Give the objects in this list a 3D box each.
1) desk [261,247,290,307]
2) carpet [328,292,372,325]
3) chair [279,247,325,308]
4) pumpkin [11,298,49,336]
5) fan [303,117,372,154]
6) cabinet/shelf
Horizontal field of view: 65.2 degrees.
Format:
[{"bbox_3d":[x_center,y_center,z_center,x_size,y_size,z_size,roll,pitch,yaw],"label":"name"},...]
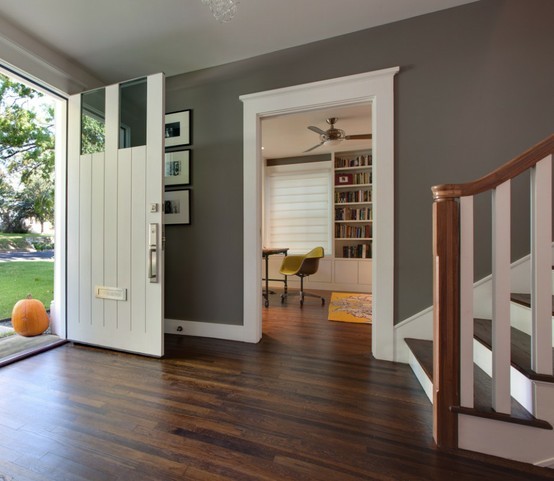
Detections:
[{"bbox_3d":[-0.122,0.502,6.172,0.527,0.753,0.738,-1,-1,9],"label":"desk"},{"bbox_3d":[0.949,0.857,5.650,0.550,0.023,1.907,0,3,10],"label":"carpet"},{"bbox_3d":[0.360,0.488,6.092,0.496,0.813,0.622,1,-1,-28],"label":"chair"},{"bbox_3d":[-2.426,0.693,4.257,0.288,0.446,0.313,-1,18,-19],"label":"pumpkin"},{"bbox_3d":[0.771,-1.398,5.591,0.721,0.383,0.961,-1,3,1],"label":"fan"},{"bbox_3d":[1.274,-0.675,7.102,0.690,2.004,0.213,1,1,32],"label":"cabinet/shelf"}]
